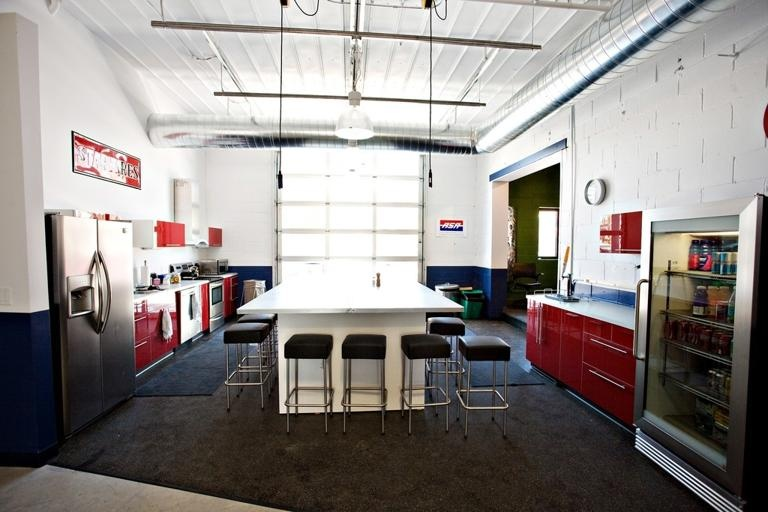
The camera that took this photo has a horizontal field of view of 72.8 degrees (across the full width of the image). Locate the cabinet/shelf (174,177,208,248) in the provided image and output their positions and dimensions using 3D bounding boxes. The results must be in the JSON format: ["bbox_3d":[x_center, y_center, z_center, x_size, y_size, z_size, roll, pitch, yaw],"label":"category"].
[{"bbox_3d":[-3.604,-0.788,9.746,0.471,1.213,1.139,-1,2,3],"label":"cabinet/shelf"}]

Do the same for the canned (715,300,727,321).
[{"bbox_3d":[3.459,0.565,5.321,0.110,0.200,0.040,0,2,35],"label":"canned"}]

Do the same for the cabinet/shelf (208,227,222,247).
[{"bbox_3d":[-3.339,-0.360,10.236,0.130,0.330,0.375,2,3,12],"label":"cabinet/shelf"}]

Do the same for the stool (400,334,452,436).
[{"bbox_3d":[0.533,1.478,6.594,0.610,1.114,1.330,-1,2,8],"label":"stool"}]

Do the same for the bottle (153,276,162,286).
[{"bbox_3d":[-3.592,0.415,8.216,0.153,0.164,0.112,1,9,-4],"label":"bottle"}]

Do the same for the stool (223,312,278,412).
[{"bbox_3d":[-1.774,1.459,6.947,0.313,0.653,1.232,-1,3,-7],"label":"stool"}]

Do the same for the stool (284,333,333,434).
[{"bbox_3d":[-0.909,1.484,6.216,0.610,1.115,0.693,-1,2,-7],"label":"stool"}]

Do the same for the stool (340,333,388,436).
[{"bbox_3d":[-0.232,1.497,6.156,0.542,1.118,0.508,-1,2,-4],"label":"stool"}]

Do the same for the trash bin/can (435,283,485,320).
[{"bbox_3d":[1.582,0.867,10.617,1.034,0.739,0.740,-1,6,-7],"label":"trash bin/can"}]

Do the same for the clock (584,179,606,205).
[{"bbox_3d":[2.953,-0.878,7.266,0.085,0.369,0.390,-2,2,-15],"label":"clock"}]

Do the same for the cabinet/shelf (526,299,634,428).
[{"bbox_3d":[2.488,1.372,6.482,0.469,0.697,1.379,1,4,-5],"label":"cabinet/shelf"}]

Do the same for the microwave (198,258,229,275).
[{"bbox_3d":[-3.317,0.230,9.958,0.291,0.227,0.431,0,2,-1],"label":"microwave"}]

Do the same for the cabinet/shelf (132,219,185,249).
[{"bbox_3d":[-3.613,-0.336,8.335,0.340,0.435,0.897,-1,2,15],"label":"cabinet/shelf"}]

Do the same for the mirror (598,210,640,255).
[{"bbox_3d":[3.081,-0.296,6.758,0.081,0.421,0.584,-2,1,-18],"label":"mirror"}]
